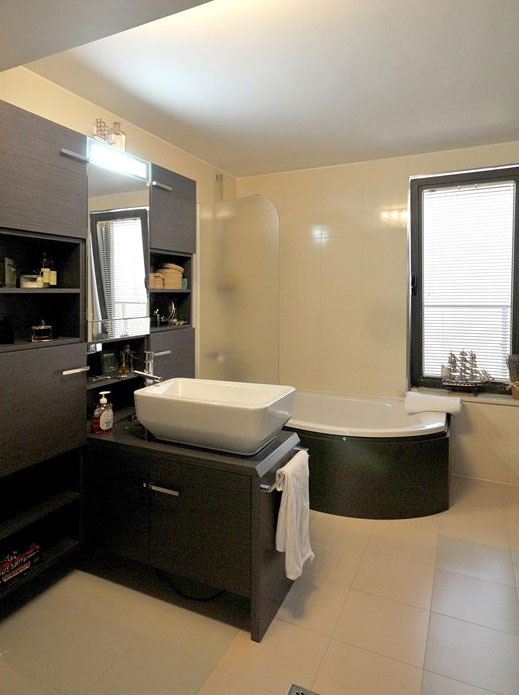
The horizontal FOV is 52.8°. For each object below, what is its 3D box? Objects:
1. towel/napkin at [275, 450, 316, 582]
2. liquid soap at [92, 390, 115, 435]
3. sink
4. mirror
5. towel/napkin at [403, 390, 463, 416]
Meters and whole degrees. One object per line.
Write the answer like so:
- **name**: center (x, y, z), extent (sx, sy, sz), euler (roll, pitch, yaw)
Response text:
- **towel/napkin**: center (0.144, 0.708, 2.114), extent (0.132, 0.511, 0.337), euler (2, 6, 12)
- **liquid soap**: center (-0.710, 0.283, 2.386), extent (0.099, 0.178, 0.140), euler (2, 6, 11)
- **sink**: center (-0.198, 0.282, 2.177), extent (0.658, 0.225, 0.426), euler (4, 7, 26)
- **mirror**: center (-0.647, -0.476, 2.465), extent (0.028, 0.868, 0.526), euler (2, 6, 18)
- **towel/napkin**: center (1.155, 0.385, 3.513), extent (0.342, 0.125, 0.234), euler (2, 6, 15)
